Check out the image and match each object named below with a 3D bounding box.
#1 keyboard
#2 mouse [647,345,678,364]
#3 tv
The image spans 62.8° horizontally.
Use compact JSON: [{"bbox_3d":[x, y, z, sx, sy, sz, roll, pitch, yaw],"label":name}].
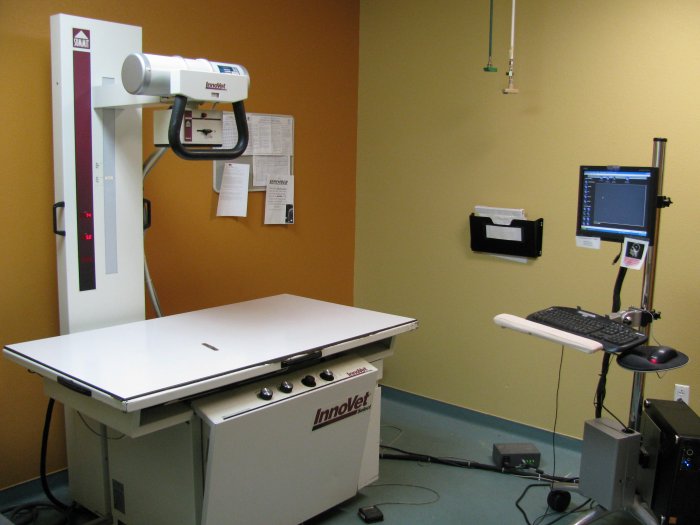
[{"bbox_3d":[1.091,0.291,2.640,0.276,0.072,0.490,-10,17,-39],"label":"keyboard"},{"bbox_3d":[1.396,0.412,2.559,0.106,0.051,0.170,10,16,33],"label":"mouse"},{"bbox_3d":[1.240,-0.265,2.648,0.072,0.343,0.321,-5,10,-43],"label":"tv"}]
